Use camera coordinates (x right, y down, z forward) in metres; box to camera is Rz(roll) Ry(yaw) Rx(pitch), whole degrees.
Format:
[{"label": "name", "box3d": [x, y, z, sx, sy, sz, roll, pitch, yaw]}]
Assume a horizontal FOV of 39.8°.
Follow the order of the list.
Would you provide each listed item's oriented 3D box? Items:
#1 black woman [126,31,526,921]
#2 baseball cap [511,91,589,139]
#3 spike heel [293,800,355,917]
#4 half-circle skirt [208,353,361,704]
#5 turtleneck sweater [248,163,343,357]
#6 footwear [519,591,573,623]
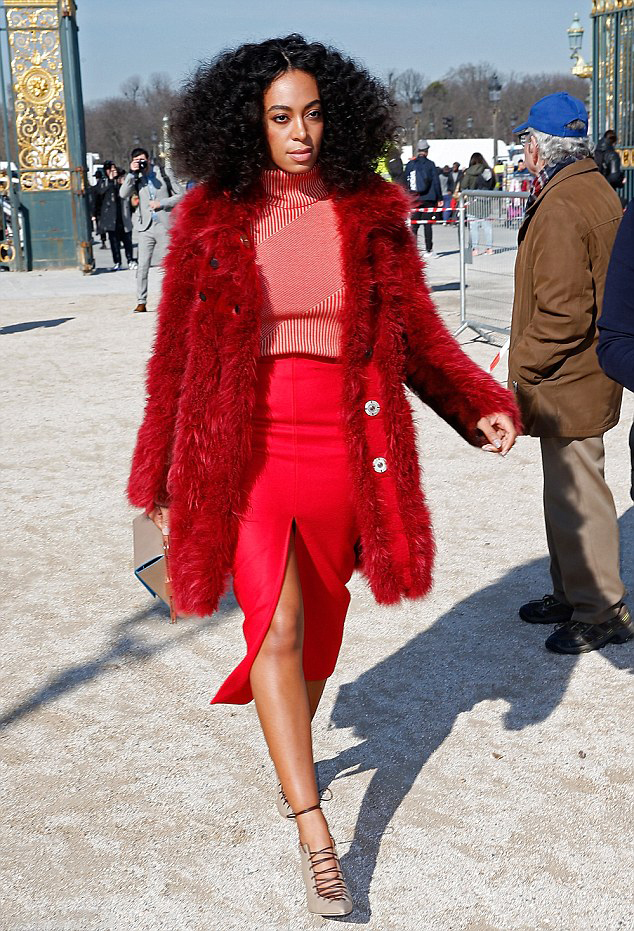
[{"label": "black woman", "box3d": [-0.011, -0.007, 1.886, 0.983, 1.639, 0.795, -1, 12, -20]}, {"label": "baseball cap", "box3d": [0.798, -1.201, 2.994, 0.164, 0.123, 0.227, -14, 31, -22]}, {"label": "spike heel", "box3d": [-0.017, 0.691, 1.624, 0.087, 0.095, 0.244, -10, 42, -8]}, {"label": "half-circle skirt", "box3d": [-0.058, 0.159, 1.744, 0.162, 0.739, 0.364, 4, 13, 33]}, {"label": "turtleneck sweater", "box3d": [-0.050, -0.401, 1.775, 0.225, 0.348, 0.118, 0, -7, -15]}, {"label": "footwear", "box3d": [0.845, 0.529, 3.272, 0.203, 0.073, 0.079, 3, 29, 10]}]
